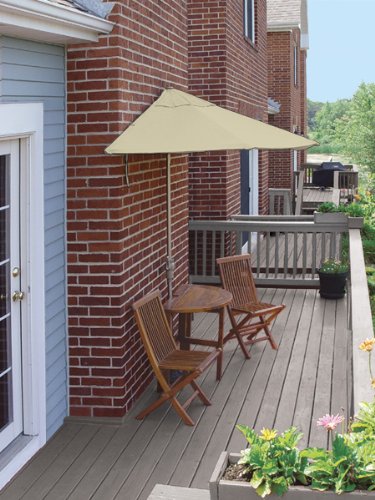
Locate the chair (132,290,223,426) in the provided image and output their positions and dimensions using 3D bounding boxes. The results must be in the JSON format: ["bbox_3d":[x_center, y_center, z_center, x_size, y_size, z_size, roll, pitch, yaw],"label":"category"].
[{"bbox_3d":[-0.086,0.901,4.315,0.642,1.032,0.853,1,7,4],"label":"chair"}]

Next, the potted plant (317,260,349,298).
[{"bbox_3d":[2.303,0.457,8.121,0.493,0.683,0.586,1,8,8],"label":"potted plant"}]

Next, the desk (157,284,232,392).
[{"bbox_3d":[0.090,0.873,5.139,0.713,1.016,1.055,1,18,4],"label":"desk"}]

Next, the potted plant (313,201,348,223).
[{"bbox_3d":[2.312,-0.581,8.141,0.399,0.217,0.419,3,20,13],"label":"potted plant"}]

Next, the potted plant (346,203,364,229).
[{"bbox_3d":[2.687,-0.543,8.105,0.271,0.345,0.957,2,8,18],"label":"potted plant"}]

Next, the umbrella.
[{"bbox_3d":[0.041,-0.668,4.119,1.045,0.989,1.077,-4,12,-23],"label":"umbrella"}]
